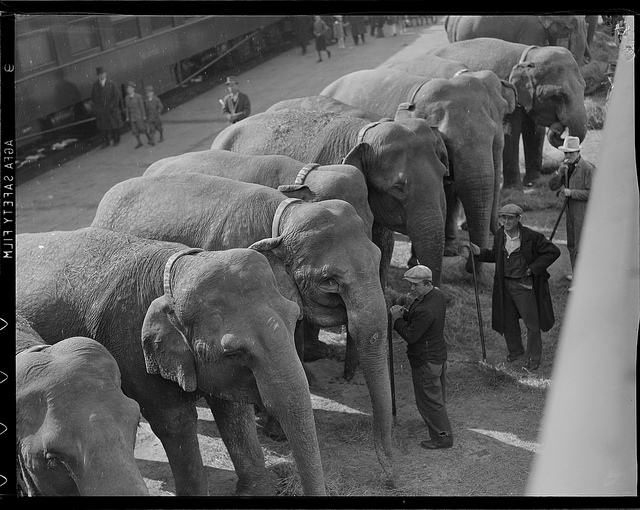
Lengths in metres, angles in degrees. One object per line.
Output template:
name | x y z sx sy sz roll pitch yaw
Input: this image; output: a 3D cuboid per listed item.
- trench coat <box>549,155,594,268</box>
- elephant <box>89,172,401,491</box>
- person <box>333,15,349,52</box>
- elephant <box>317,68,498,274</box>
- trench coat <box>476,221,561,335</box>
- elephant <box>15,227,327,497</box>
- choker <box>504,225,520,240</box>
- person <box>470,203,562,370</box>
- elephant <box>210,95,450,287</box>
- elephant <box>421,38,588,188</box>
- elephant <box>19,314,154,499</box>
trench coat | 2.283 -0.412 7.045 0.334 1.124 0.434 -13 19 -23
elephant | -0.565 0.556 5.110 2.199 1.851 1.045 0 10 23
person | 0.330 -3.505 12.596 0.240 0.512 0.770 -6 17 4
elephant | 0.493 -0.734 7.715 0.851 1.468 2.303 -18 29 -25
trench coat | 1.516 0.139 5.901 0.449 1.042 0.368 13 22 43
elephant | -0.770 0.489 3.970 0.957 1.185 1.167 -15 23 -35
choker | 1.445 -0.165 5.905 0.111 0.092 0.058 -3 18 14
person | 1.557 0.268 5.931 0.495 1.159 0.317 -2 18 17
elephant | 0.136 -0.344 6.599 2.043 1.516 0.956 10 23 34
elephant | 2.160 -1.308 8.785 1.939 1.789 1.430 5 25 25
elephant | -1.049 0.733 3.420 0.514 0.652 0.512 -10 18 -8
